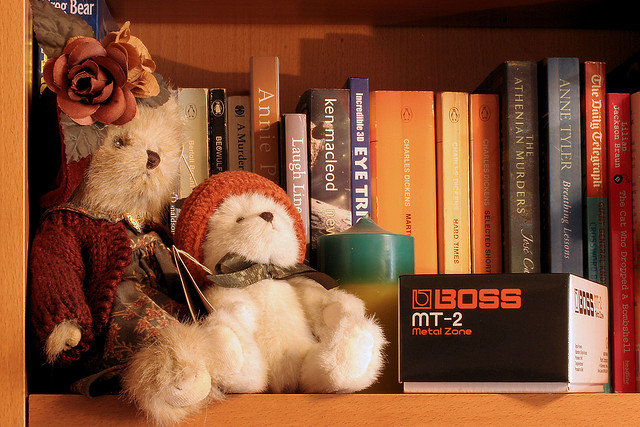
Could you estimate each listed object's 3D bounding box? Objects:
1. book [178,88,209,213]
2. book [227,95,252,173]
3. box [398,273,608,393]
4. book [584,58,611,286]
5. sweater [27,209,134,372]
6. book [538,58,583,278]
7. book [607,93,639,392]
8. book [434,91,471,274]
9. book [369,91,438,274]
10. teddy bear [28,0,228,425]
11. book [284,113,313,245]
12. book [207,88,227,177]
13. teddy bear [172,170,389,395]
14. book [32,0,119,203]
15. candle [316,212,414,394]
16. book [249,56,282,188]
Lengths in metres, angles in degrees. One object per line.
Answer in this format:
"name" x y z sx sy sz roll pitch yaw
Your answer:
"book" -0.198 -0.092 1.018 0.061 0.178 0.187 0 -2 -8
"book" -0.131 -0.126 1.064 0.038 0.116 0.118 -1 -5 -4
"box" 0.271 0.175 0.942 0.309 0.148 0.316 3 -12 0
"book" 0.432 -0.065 1.021 0.041 0.346 0.030 2 -1 3
"sweater" -0.318 0.072 0.898 0.152 0.254 0.068 12 -45 -33
"book" 0.375 -0.075 1.020 0.073 0.338 0.038 2 -1 18
"book" 0.466 0.040 1.006 0.038 0.452 0.042 2 -1 -4
"book" 0.210 -0.050 1.039 0.064 0.286 0.028 2 -1 9
"book" 0.131 -0.037 1.023 0.079 0.243 0.245 0 -5 -4
"teddy bear" -0.256 -0.014 0.859 0.214 0.517 0.240 2 -1 -34
"book" -0.035 -0.048 1.008 0.034 0.239 0.179 -3 -4 -5
"book" -0.167 -0.135 1.059 0.026 0.110 0.080 -1 1 -6
"teddy bear" -0.066 0.092 0.904 0.276 0.346 0.262 -7 -6 13
"book" -0.337 -0.141 0.897 0.090 0.249 0.286 -1 1 -4
"candle" 0.042 0.114 0.997 0.144 0.252 0.143 19 -23 -31
"book" -0.088 -0.147 1.061 0.056 0.164 0.052 2 -1 -8
